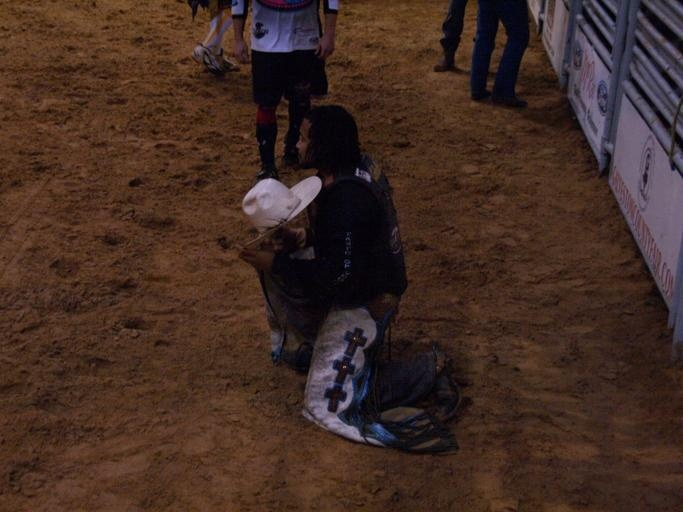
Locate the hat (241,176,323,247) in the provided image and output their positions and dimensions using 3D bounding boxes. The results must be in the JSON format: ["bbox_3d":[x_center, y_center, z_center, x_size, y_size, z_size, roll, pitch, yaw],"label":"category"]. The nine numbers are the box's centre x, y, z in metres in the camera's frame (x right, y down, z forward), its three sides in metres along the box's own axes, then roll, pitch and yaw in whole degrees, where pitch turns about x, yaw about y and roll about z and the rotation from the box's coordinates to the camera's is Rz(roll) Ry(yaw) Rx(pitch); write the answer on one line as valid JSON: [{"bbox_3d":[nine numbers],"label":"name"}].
[{"bbox_3d":[-0.406,-0.367,4.342,0.467,0.171,0.420,-34,30,26],"label":"hat"}]

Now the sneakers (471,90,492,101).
[{"bbox_3d":[1.655,-1.894,7.921,0.275,0.106,0.126,-5,4,-10],"label":"sneakers"}]
